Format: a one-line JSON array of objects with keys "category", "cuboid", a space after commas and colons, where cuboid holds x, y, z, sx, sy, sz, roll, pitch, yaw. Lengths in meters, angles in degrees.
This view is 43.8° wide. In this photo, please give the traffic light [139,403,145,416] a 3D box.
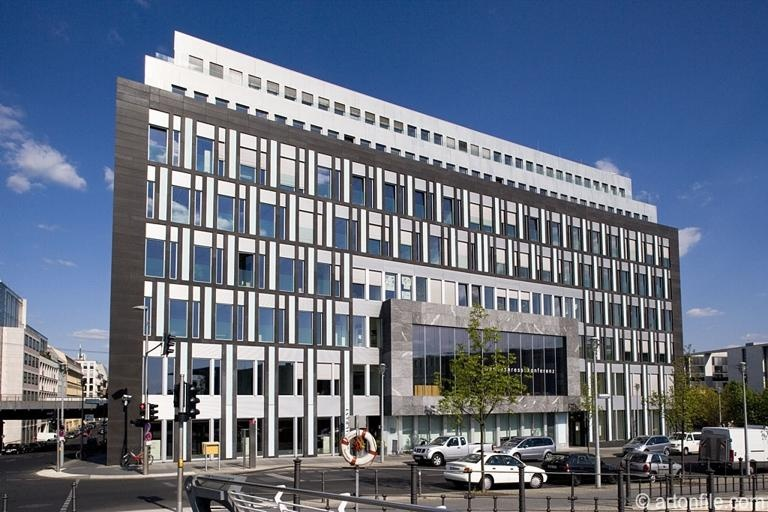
[{"category": "traffic light", "cuboid": [-19.278, 12.229, 76.495, 0.315, 0.987, 0.919, 6, -19, -20]}]

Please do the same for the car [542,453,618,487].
[{"category": "car", "cuboid": [14.972, 16.907, 73.581, 5.238, 2.229, 3.155, 1, -8, -21]}]

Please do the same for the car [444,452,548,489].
[{"category": "car", "cuboid": [8.250, 15.828, 70.762, 6.807, 2.255, 3.298, 2, -11, -19]}]

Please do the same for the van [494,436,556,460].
[{"category": "van", "cuboid": [12.488, 16.653, 83.491, 5.217, 1.893, 2.599, 8, -14, -22]}]
